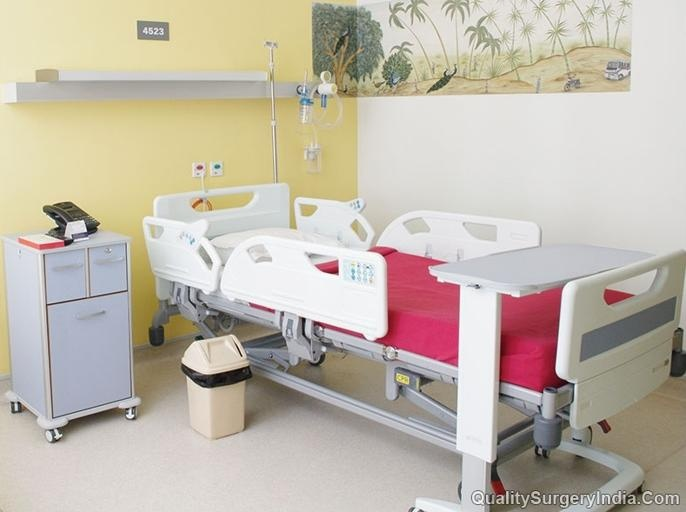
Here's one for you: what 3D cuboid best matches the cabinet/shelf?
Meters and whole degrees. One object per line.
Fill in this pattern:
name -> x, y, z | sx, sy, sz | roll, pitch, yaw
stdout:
cabinet/shelf -> -1.523, 0.426, 2.842 | 0.742, 1.048, 0.521 | -3, 15, -12

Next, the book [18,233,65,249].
book -> -1.581, -0.075, 2.695 | 0.228, 0.029, 0.117 | 11, 14, 41

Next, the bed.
bed -> 0.081, 0.155, 3.039 | 3.052, 1.299, 1.515 | 14, 19, 43

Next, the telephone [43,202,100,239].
telephone -> -1.523, -0.210, 2.915 | 0.252, 0.115, 0.167 | 16, 25, 17
